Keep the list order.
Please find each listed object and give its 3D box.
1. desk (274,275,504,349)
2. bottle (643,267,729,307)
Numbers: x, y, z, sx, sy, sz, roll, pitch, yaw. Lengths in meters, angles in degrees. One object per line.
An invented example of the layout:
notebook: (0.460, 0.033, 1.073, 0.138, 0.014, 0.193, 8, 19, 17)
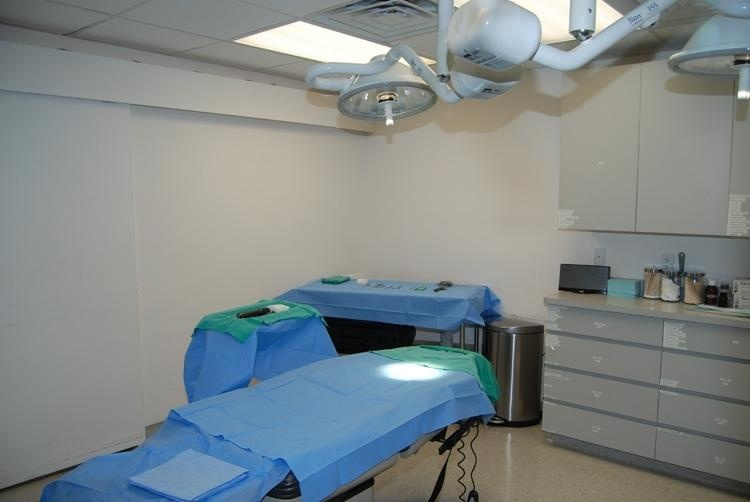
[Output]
desk: (0.232, 0.487, 5.075, 1.510, 0.285, 0.880, 1, 6, 21)
bottle: (2.597, 0.302, 4.309, 0.714, 0.268, 0.238, 1, 3, 43)
